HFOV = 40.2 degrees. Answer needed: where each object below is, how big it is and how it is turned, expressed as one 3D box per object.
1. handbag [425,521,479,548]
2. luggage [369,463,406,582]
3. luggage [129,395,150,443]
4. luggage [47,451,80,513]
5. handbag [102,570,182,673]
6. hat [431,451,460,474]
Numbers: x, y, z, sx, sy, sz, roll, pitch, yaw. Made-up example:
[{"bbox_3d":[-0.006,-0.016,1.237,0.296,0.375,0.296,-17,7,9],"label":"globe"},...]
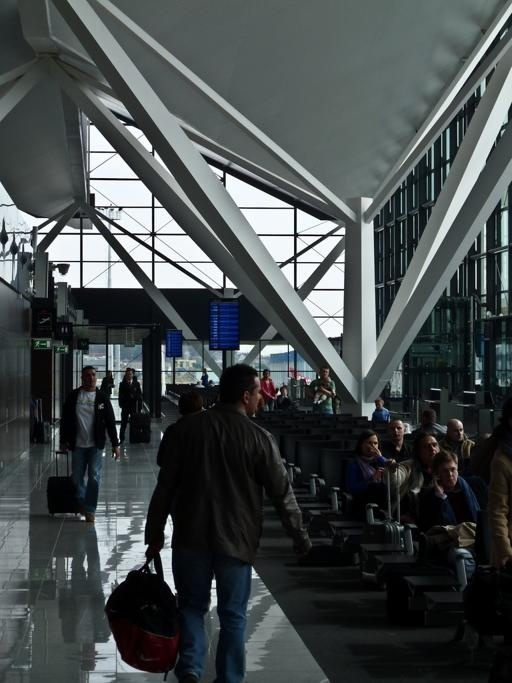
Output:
[{"bbox_3d":[1.342,1.357,4.900,0.261,0.166,0.357,-1,-7,10],"label":"handbag"},{"bbox_3d":[1.060,1.563,6.220,0.419,1.047,0.295,-3,-14,27],"label":"luggage"},{"bbox_3d":[-3.543,2.156,21.360,0.750,1.724,0.854,2,1,-12],"label":"luggage"},{"bbox_3d":[-2.617,1.942,9.547,0.406,0.766,0.427,-3,6,-29],"label":"luggage"},{"bbox_3d":[-0.450,1.109,2.788,0.286,0.399,0.203,4,0,1],"label":"handbag"},{"bbox_3d":[1.348,0.870,5.075,0.117,0.166,0.162,2,-2,6],"label":"hat"}]
